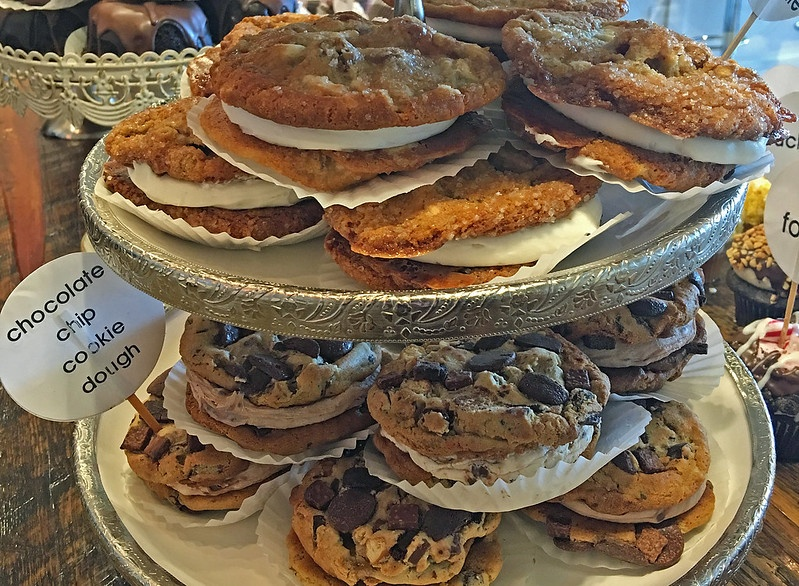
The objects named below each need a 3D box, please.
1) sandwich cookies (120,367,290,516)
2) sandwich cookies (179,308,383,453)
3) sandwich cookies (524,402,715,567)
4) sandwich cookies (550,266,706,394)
[{"bbox_3d":[-0.587,0.355,2.026,0.314,0.124,0.351,-2,27,-16],"label":"sandwich cookies"},{"bbox_3d":[-0.421,0.254,2.057,0.478,0.222,0.466,10,12,-45],"label":"sandwich cookies"},{"bbox_3d":[0.669,0.465,2.047,0.547,0.167,0.532,-14,13,41],"label":"sandwich cookies"},{"bbox_3d":[0.600,0.131,2.004,0.322,0.176,0.347,-25,26,-26],"label":"sandwich cookies"}]
